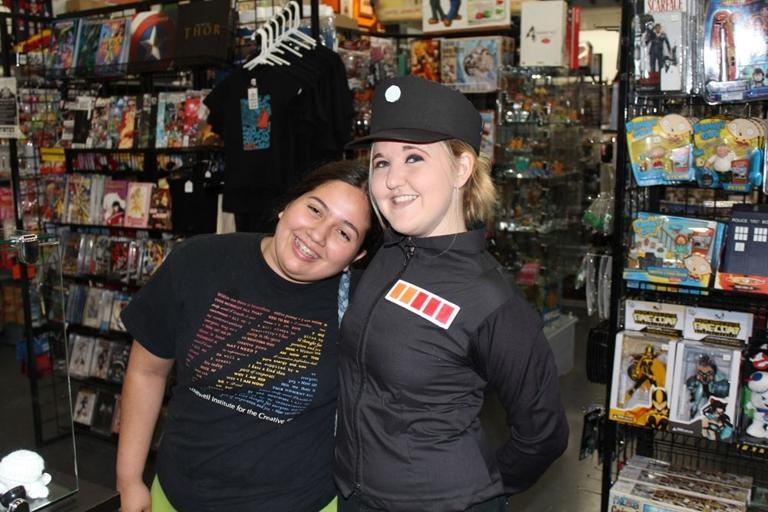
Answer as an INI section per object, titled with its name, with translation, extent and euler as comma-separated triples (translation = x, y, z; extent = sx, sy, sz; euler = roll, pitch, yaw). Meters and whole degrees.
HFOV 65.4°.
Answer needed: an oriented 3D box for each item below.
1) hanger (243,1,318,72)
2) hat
[hanger]
translation = -0.700, -1.526, 4.161
extent = 0.529, 0.490, 0.326
euler = 2, 3, 5
[hat]
translation = 0.157, -0.470, 2.157
extent = 0.368, 0.164, 0.269
euler = 12, -6, -44
